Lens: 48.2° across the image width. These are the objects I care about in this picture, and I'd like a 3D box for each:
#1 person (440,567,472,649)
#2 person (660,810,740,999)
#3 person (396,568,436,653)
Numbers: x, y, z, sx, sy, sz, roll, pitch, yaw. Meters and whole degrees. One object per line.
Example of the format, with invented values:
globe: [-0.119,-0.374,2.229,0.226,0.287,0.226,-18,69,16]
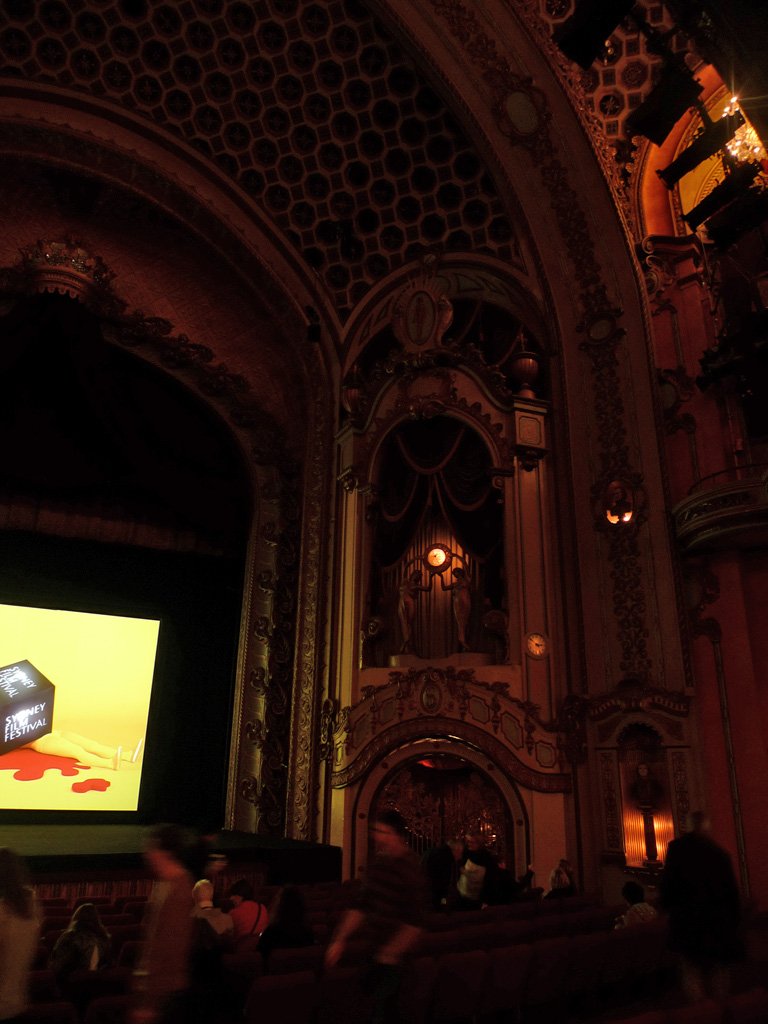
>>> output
person: [0.929,1.204,10.877,0.351,1.152,0.269,-2,-24,12]
person: [1.641,2.033,4.461,0.380,0.902,0.350,-4,-25,17]
person: [0.374,1.290,11.279,0.494,1.137,0.204,-8,-26,24]
